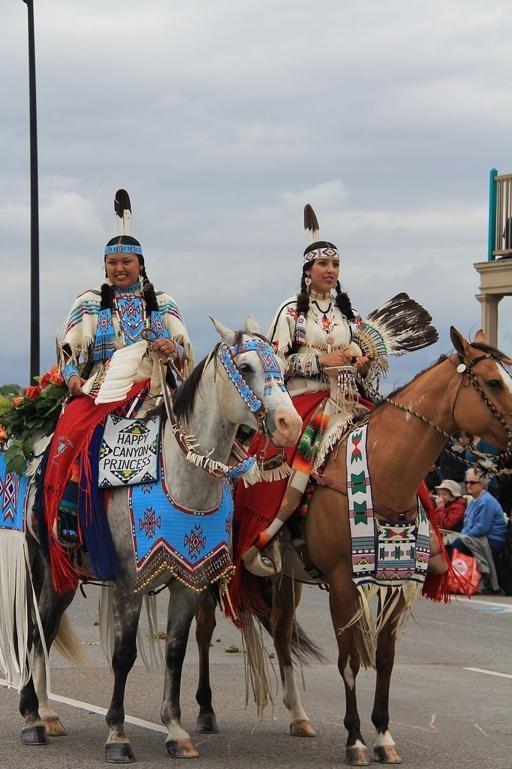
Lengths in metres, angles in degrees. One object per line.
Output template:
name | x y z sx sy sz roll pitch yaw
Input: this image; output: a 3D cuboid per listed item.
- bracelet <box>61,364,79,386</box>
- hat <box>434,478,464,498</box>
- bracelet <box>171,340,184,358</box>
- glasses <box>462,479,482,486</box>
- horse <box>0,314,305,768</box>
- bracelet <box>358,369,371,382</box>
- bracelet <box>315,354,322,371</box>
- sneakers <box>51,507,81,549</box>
bracelet | -1.080 -0.055 6.703 0.121 0.084 0.146 -4 32 -14
hat | 2.384 1.274 13.816 0.254 0.108 0.236 15 1 -10
bracelet | -0.440 -0.197 6.550 0.091 0.085 0.040 -5 -3 -8
glasses | 2.445 1.095 12.808 0.123 0.034 0.115 14 -14 -40
horse | -0.644 0.839 6.094 0.954 2.294 2.224 -4 4 -35
bracelet | 0.657 -0.049 6.954 0.063 0.067 0.065 -2 -11 1
bracelet | 0.384 -0.137 6.885 0.032 0.069 0.064 -2 -6 12
sneakers | -1.012 0.776 6.134 0.171 0.197 0.082 0 -1 31
